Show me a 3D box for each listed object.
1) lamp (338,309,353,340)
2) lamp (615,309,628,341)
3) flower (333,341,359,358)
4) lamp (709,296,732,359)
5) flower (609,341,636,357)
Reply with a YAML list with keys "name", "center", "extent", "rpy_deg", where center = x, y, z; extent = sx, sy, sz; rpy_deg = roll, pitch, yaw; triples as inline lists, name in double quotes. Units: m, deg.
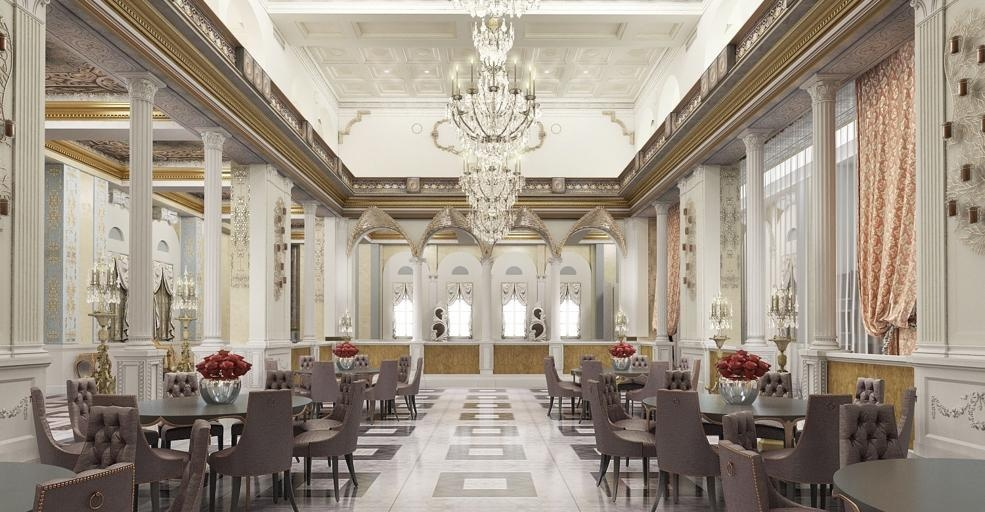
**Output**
- name: "lamp"
  center: [-4.283, 2.034, 19.458]
  extent: [0.309, 0.892, 0.812]
  rpy_deg: [0, -11, -7]
- name: "lamp"
  center: [3.834, 2.079, 19.983]
  extent: [0.262, 0.941, 0.907]
  rpy_deg: [-3, -11, 9]
- name: "flower"
  center: [-3.558, 2.250, 16.024]
  extent: [0.590, 0.409, 0.558]
  rpy_deg: [-1, -2, 2]
- name: "lamp"
  center: [5.450, 1.533, 15.887]
  extent: [0.488, 1.434, 1.850]
  rpy_deg: [-5, -11, 20]
- name: "flower"
  center: [3.079, 2.289, 16.230]
  extent: [0.627, 0.336, 0.628]
  rpy_deg: [-3, -4, 40]
